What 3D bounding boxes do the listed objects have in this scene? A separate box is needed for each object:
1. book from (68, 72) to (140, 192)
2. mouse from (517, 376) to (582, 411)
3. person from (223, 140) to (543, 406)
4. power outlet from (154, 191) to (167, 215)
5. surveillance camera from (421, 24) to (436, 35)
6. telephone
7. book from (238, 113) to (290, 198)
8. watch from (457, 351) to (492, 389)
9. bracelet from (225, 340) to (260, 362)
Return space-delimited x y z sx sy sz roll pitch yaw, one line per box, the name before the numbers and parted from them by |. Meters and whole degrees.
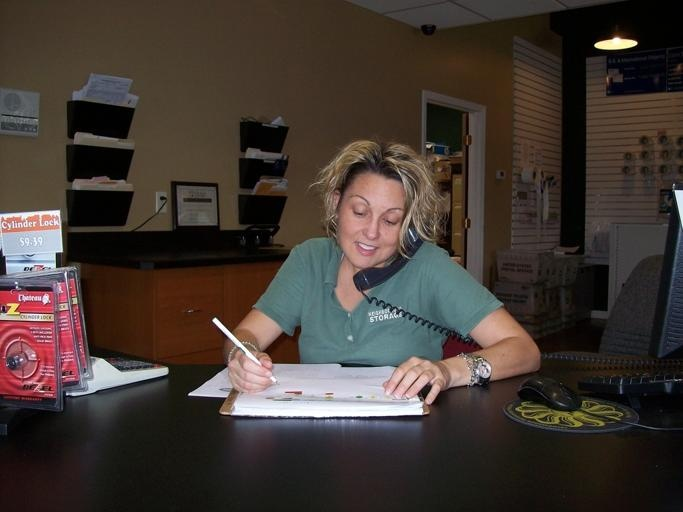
book | -1.433 -0.732 3.245 0.224 0.683 0.364 9 8 32
mouse | 0.518 0.335 1.351 0.096 0.061 0.162 -5 8 -36
person | 0.094 0.108 1.759 0.694 0.956 0.699 7 5 -11
power outlet | -1.229 -0.346 3.673 0.020 0.144 0.093 6 11 32
surveillance camera | 0.852 -2.166 5.261 0.087 0.069 0.103 -1 5 7
telephone | 0.151 0.013 1.765 0.067 0.239 0.175 43 2 40
book | -0.584 -0.740 4.093 0.157 0.571 0.357 9 8 37
watch | 0.375 0.315 1.513 0.073 0.076 0.073 1 19 30
bracelet | -0.293 0.274 1.555 0.086 0.045 0.117 1 5 7
